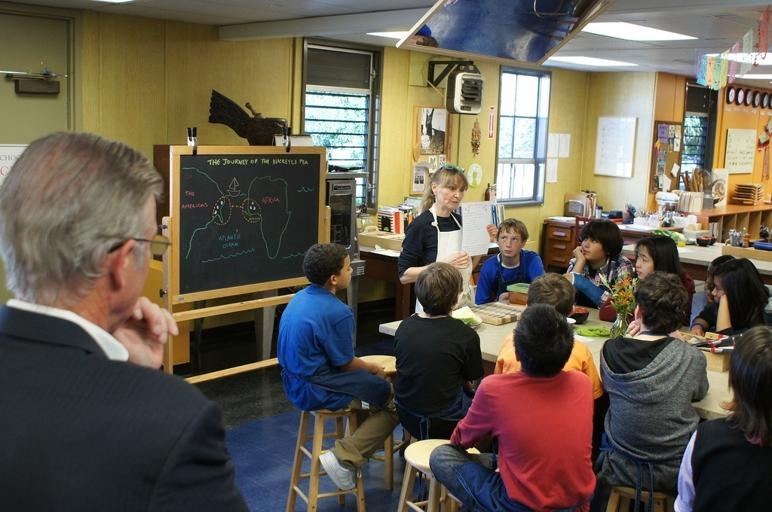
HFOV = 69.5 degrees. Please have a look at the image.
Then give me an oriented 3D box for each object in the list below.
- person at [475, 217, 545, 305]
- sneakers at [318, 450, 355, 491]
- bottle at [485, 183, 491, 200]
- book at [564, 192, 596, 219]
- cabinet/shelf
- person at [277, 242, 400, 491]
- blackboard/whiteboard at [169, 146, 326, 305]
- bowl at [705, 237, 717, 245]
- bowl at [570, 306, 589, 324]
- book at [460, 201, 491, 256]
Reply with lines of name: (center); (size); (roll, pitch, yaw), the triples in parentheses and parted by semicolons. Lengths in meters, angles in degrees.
person: (0.966, 0.093, 4.320); (0.578, 0.768, 0.484); (1, 10, 20)
sneakers: (-0.261, 1.208, 3.184); (0.145, 0.320, 0.119); (-21, 36, 12)
bottle: (1.479, -0.943, 8.106); (0.076, 0.225, 0.243); (1, 11, 10)
book: (3.250, -0.777, 9.177); (0.522, 0.516, 0.512); (-1, 4, -39)
cabinet/shelf: (2.970, -0.014, 8.698); (0.506, 0.812, 0.860); (4, 5, -37)
person: (-0.283, 0.655, 3.271); (0.676, 1.403, 0.492); (-3, 11, -12)
blackboard/whiteboard: (-1.135, -0.261, 4.400); (1.321, 1.095, 0.172); (-5, 6, -44)
bowl: (3.878, -0.178, 6.646); (0.094, 0.065, 0.095); (-1, -3, 0)
bowl: (1.355, 0.415, 3.946); (0.143, 0.083, 0.143); (0, 7, 0)
book: (0.676, -0.209, 4.276); (0.393, 0.533, 0.053); (-6, 6, -42)
